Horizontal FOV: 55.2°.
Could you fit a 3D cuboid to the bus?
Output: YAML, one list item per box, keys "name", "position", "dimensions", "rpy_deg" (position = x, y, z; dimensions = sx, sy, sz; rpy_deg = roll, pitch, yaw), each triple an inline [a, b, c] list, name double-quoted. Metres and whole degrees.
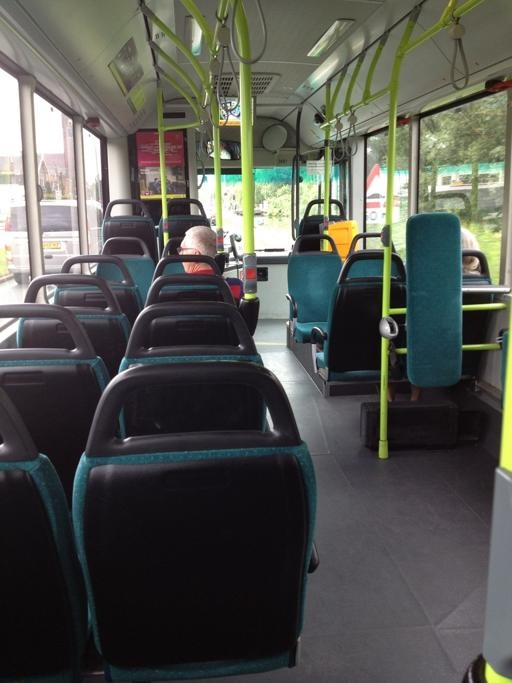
- name: "bus"
  position: [1.755, -1.560, 5.134]
  dimensions: [1.201, 0.515, 1.302]
  rpy_deg: [4, 16, 18]
